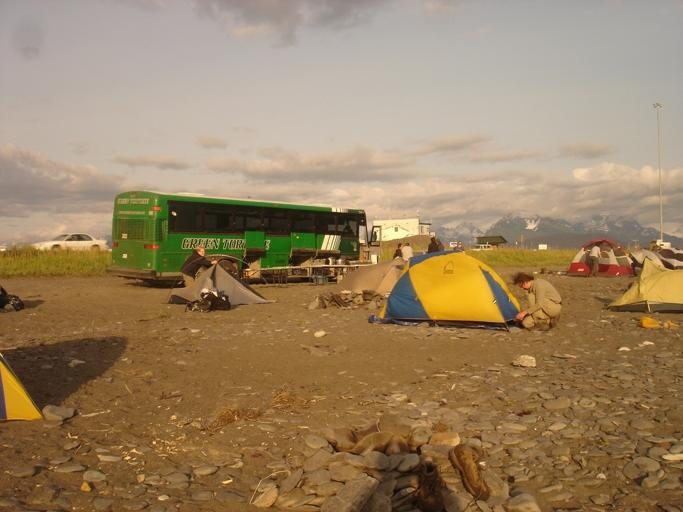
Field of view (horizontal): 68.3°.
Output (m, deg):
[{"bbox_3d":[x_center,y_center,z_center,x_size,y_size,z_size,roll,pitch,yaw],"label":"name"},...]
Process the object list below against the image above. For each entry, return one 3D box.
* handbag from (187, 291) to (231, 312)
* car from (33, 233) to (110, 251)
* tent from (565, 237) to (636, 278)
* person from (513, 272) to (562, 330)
[{"bbox_3d":[-4.119,1.393,15.707,1.143,0.373,0.692,3,-2,-16],"label":"handbag"},{"bbox_3d":[-21.785,-1.229,41.230,3.125,1.537,6.953,0,8,4],"label":"car"},{"bbox_3d":[16.409,-0.015,31.404,3.258,1.637,3.394,2,-4,-45],"label":"tent"},{"bbox_3d":[5.144,1.208,13.130,1.098,1.317,0.599,0,12,2],"label":"person"}]
